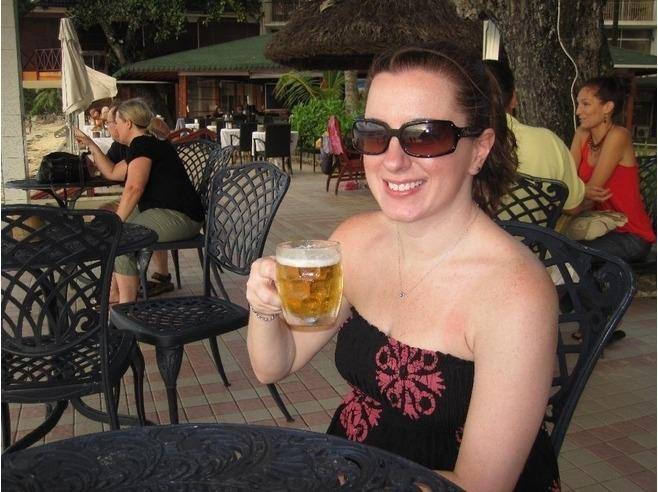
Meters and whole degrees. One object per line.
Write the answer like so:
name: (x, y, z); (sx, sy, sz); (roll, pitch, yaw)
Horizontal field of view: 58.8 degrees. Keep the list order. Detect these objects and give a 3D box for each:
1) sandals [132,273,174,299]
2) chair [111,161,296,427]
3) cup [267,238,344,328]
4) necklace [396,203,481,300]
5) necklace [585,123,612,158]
sandals: (-1.650, 0.389, 5.659); (0.207, 0.174, 0.406); (0, 1, 30)
chair: (-0.801, 0.304, 3.706); (0.996, 1.642, 0.824); (-9, 12, -43)
cup: (-0.050, 0.118, 1.664); (0.175, 0.243, 0.119); (-1, 14, -5)
necklace: (0.327, 0.027, 2.052); (0.071, 0.295, 0.305); (28, 3, 38)
necklace: (2.160, -0.847, 4.753); (0.151, 0.218, 0.168); (17, 27, 34)
